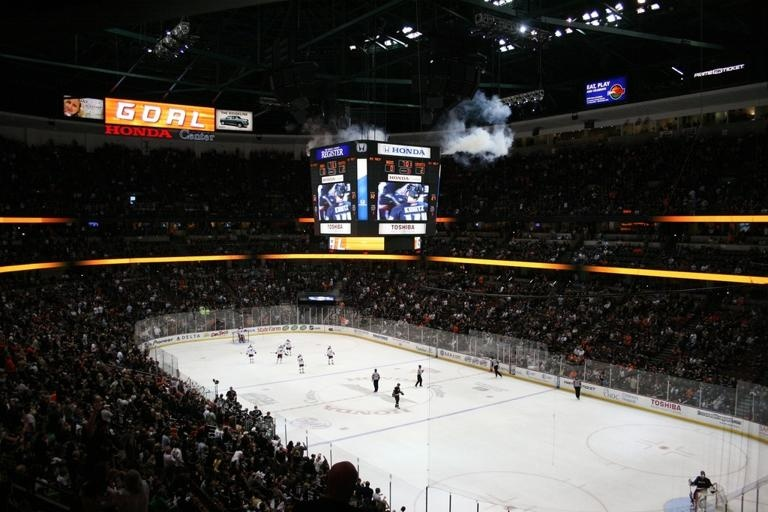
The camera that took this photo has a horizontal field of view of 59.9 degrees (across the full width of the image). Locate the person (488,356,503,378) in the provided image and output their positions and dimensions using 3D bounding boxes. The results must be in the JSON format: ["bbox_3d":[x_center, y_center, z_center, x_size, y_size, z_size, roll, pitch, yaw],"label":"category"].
[{"bbox_3d":[7.271,7.096,42.962,0.669,1.065,1.431,2,11,2],"label":"person"}]

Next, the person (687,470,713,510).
[{"bbox_3d":[13.322,9.678,28.188,0.927,1.581,2.070,7,12,27],"label":"person"}]
